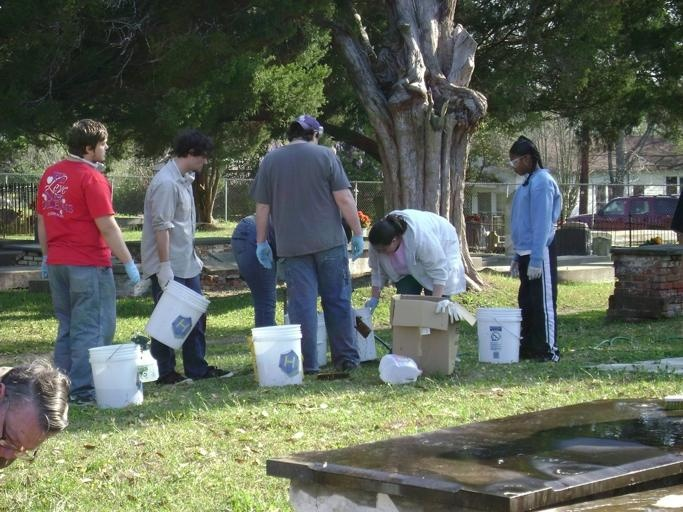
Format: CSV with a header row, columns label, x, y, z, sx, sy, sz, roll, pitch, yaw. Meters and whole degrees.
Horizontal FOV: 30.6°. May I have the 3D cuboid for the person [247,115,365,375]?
label,x,y,z,sx,sy,sz,roll,pitch,yaw
person,-0.376,-0.153,14.879,1.234,3.077,0.496,-3,2,1

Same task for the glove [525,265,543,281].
label,x,y,z,sx,sy,sz,roll,pitch,yaw
glove,2.329,0.210,15.181,0.165,0.145,0.137,-4,7,-32

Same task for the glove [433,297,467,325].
label,x,y,z,sx,sy,sz,roll,pitch,yaw
glove,1.281,0.664,14.594,0.352,0.160,0.244,32,-15,-38

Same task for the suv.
label,x,y,z,sx,sy,sz,roll,pitch,yaw
suv,7.685,-1.149,32.179,2.184,0.926,6.850,-3,1,1

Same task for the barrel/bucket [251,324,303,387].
label,x,y,z,sx,sy,sz,roll,pitch,yaw
barrel/bucket,-0.709,1.157,14.440,0.659,0.681,0.654,-1,-3,0

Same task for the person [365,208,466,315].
label,x,y,z,sx,sy,sz,roll,pitch,yaw
person,0.690,0.100,15.586,1.297,1.371,1.138,5,-10,-36

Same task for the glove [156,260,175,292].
label,x,y,z,sx,sy,sz,roll,pitch,yaw
glove,-2.051,0.225,14.551,0.231,0.301,0.310,0,38,-5

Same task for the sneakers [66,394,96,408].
label,x,y,z,sx,sy,sz,roll,pitch,yaw
sneakers,-2.960,1.648,14.240,0.303,0.134,0.119,4,-4,3

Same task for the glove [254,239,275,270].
label,x,y,z,sx,sy,sz,roll,pitch,yaw
glove,-0.920,-0.021,15.170,0.241,0.308,0.111,-21,21,-40

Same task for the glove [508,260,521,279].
label,x,y,z,sx,sy,sz,roll,pitch,yaw
glove,2.192,0.156,15.846,0.069,0.190,0.141,10,6,8

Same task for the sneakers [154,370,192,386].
label,x,y,z,sx,sy,sz,roll,pitch,yaw
sneakers,-1.993,1.447,14.800,0.456,0.179,0.155,-1,-4,1

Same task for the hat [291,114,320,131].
label,x,y,z,sx,sy,sz,roll,pitch,yaw
hat,-0.412,-1.575,14.979,0.295,0.152,0.197,22,-1,-33

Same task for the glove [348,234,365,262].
label,x,y,z,sx,sy,sz,roll,pitch,yaw
glove,0.145,-0.109,15.126,0.120,0.277,0.213,14,0,33

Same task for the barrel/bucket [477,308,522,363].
label,x,y,z,sx,sy,sz,roll,pitch,yaw
barrel/bucket,1.898,0.953,15.130,0.624,0.615,0.637,-1,1,0

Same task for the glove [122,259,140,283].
label,x,y,z,sx,sy,sz,roll,pitch,yaw
glove,-2.427,0.173,14.425,0.156,0.288,0.106,-16,2,-23

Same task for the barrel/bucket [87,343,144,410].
label,x,y,z,sx,sy,sz,roll,pitch,yaw
barrel/bucket,-2.690,1.355,14.230,0.676,0.741,0.684,-2,0,0

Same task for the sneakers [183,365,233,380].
label,x,y,z,sx,sy,sz,roll,pitch,yaw
sneakers,-1.579,1.386,14.927,0.594,0.197,0.201,-3,-2,-5
